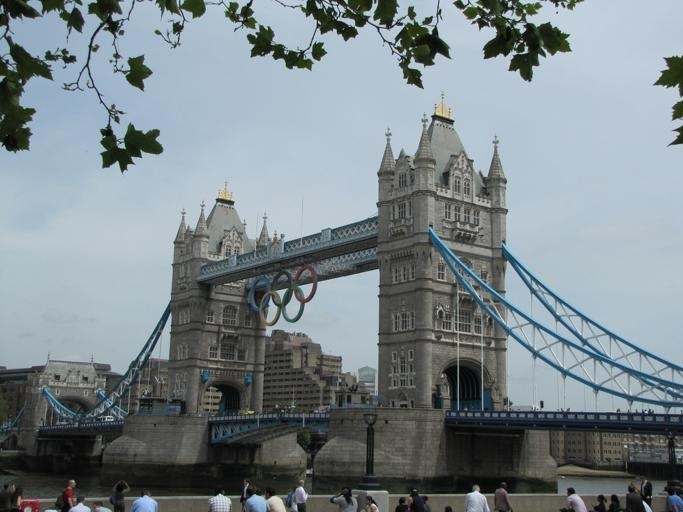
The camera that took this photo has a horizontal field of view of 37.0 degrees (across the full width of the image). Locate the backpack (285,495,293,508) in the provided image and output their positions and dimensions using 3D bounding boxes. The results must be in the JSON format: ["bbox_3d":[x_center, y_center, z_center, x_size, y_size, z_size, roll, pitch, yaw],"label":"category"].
[{"bbox_3d":[-1.589,7.445,31.159,0.191,0.396,0.449,5,-23,-7],"label":"backpack"}]
